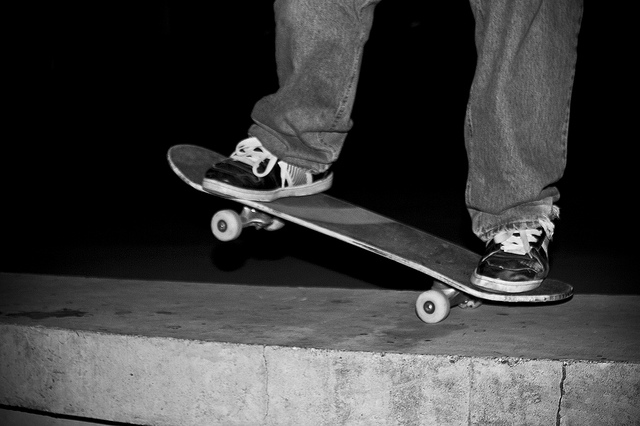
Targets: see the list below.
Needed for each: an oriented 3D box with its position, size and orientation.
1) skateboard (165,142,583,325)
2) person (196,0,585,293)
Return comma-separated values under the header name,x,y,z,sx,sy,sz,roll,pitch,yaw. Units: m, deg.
name,x,y,z,sx,sy,sz,roll,pitch,yaw
skateboard,0.330,0.092,3.052,1.603,0.211,0.369,20,13,5
person,0.391,-0.346,3.060,1.415,1.148,0.569,15,22,17
